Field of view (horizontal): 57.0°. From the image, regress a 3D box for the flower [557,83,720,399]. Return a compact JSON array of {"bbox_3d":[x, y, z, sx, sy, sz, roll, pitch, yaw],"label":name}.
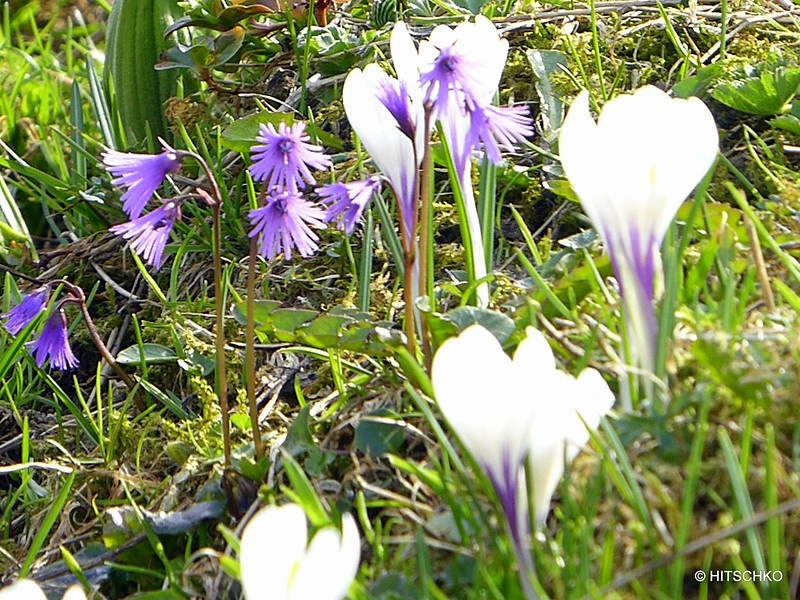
[{"bbox_3d":[0.268,-0.049,0.815,0.144,0.139,0.351,20,54,-9],"label":"flower"}]
